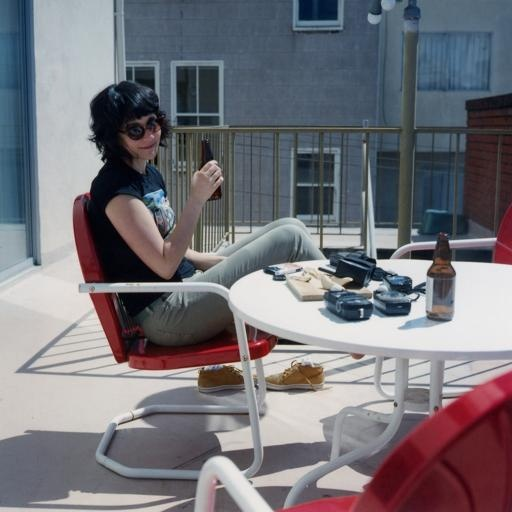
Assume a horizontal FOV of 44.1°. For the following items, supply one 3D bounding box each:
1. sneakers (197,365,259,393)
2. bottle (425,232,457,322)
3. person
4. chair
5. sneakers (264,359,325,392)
[{"bbox_3d":[-0.104,0.502,2.708,0.281,0.129,0.101,-3,9,-14],"label":"sneakers"},{"bbox_3d":[0.415,0.035,1.418,0.064,0.179,0.191,3,11,18],"label":"bottle"},{"bbox_3d":[-0.138,-0.039,2.175,0.715,1.142,0.443,-9,10,-2],"label":"person"},{"bbox_3d":[0.049,0.275,1.918,1.408,1.046,0.826,0,8,1],"label":"chair"},{"bbox_3d":[0.162,0.502,2.680,0.252,0.133,0.105,3,2,4],"label":"sneakers"}]
